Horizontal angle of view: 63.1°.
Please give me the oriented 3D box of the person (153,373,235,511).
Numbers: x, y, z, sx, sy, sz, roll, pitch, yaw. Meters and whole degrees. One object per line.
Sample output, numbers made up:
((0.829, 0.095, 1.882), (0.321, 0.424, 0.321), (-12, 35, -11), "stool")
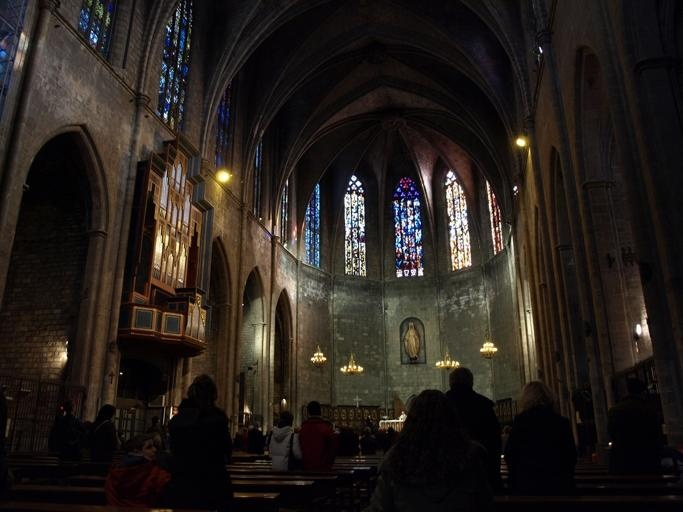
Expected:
((-1.220, 1.609, 4.820), (0.560, 1.107, 0.397), (4, -19, -15), "person")

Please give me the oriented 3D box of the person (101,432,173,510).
((-1.945, 2.094, 5.286), (0.612, 0.851, 0.347), (7, -19, -14), "person")

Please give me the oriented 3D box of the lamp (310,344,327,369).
((-1.030, 4.675, 26.152), (0.865, 1.308, 0.891), (-7, -13, 35), "lamp")

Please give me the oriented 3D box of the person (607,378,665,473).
((3.051, 1.967, 5.723), (0.447, 1.353, 0.410), (-3, -7, 33), "person")

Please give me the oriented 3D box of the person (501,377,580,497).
((1.690, 1.544, 4.794), (0.594, 0.936, 0.334), (-8, -20, 20), "person")
